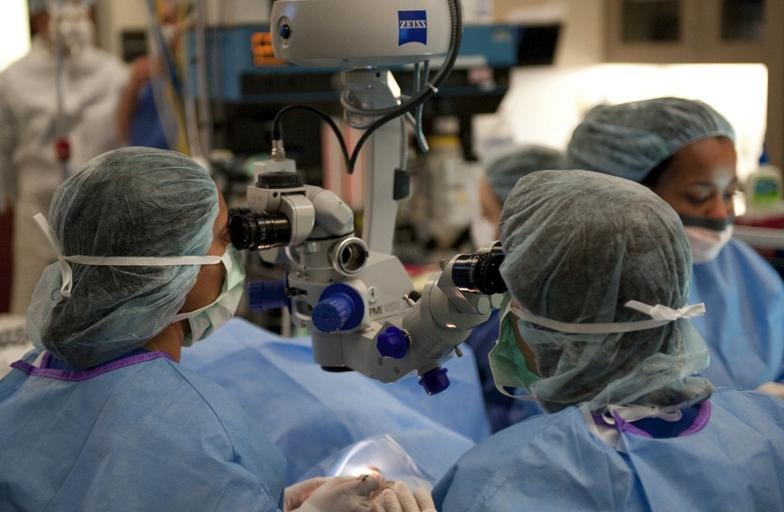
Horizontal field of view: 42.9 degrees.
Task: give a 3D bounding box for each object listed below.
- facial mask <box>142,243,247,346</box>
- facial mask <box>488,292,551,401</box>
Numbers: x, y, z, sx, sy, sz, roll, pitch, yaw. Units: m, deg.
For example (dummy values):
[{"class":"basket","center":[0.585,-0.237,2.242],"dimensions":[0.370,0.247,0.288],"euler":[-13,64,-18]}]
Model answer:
[{"class":"facial mask","center":[-0.483,0.096,2.496],"dimensions":[0.167,0.242,0.150],"euler":[6,23,19]},{"class":"facial mask","center":[0.312,0.243,2.455],"dimensions":[0.120,0.261,0.105],"euler":[20,30,27]}]
